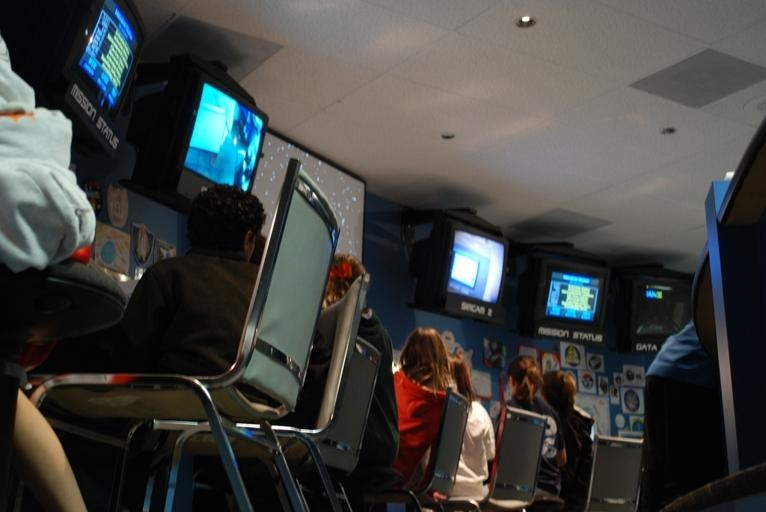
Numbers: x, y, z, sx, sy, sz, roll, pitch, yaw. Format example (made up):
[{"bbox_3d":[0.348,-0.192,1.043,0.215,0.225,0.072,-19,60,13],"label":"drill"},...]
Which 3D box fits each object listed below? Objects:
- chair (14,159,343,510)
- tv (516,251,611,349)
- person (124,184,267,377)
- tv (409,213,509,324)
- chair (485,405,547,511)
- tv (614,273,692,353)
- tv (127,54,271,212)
[{"bbox_3d":[-0.435,0.365,2.353,1.002,1.551,0.865,-2,-28,9],"label":"chair"},{"bbox_3d":[2.092,0.492,6.983,0.842,0.850,0.525,8,0,-12],"label":"tv"},{"bbox_3d":[-0.621,0.135,2.203,0.450,0.771,0.436,12,-13,-23],"label":"person"},{"bbox_3d":[0.797,0.140,6.297,1.022,1.015,0.622,15,-12,-39],"label":"tv"},{"bbox_3d":[0.823,1.271,3.775,0.218,0.642,0.497,-2,-14,38],"label":"chair"},{"bbox_3d":[2.983,0.608,6.659,0.867,1.076,0.556,2,-7,-4],"label":"tv"},{"bbox_3d":[-1.208,-0.782,4.014,0.716,0.909,0.749,10,-5,24],"label":"tv"}]
